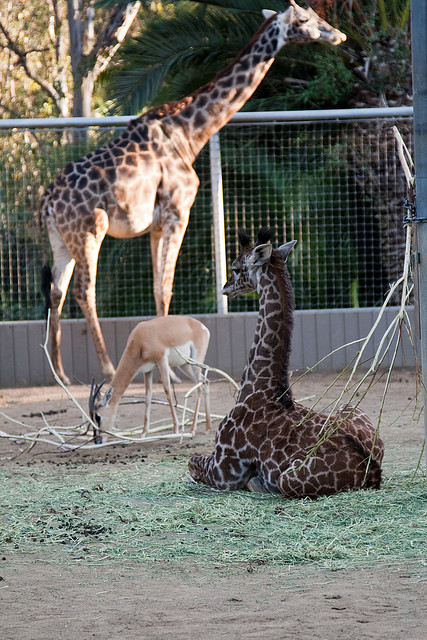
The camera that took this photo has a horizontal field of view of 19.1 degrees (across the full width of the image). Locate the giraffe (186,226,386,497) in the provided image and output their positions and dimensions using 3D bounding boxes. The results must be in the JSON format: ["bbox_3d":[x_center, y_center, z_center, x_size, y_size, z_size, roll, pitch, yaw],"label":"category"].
[{"bbox_3d":[0.420,0.235,7.252,0.722,1.479,1.241,-10,12,-35],"label":"giraffe"}]
